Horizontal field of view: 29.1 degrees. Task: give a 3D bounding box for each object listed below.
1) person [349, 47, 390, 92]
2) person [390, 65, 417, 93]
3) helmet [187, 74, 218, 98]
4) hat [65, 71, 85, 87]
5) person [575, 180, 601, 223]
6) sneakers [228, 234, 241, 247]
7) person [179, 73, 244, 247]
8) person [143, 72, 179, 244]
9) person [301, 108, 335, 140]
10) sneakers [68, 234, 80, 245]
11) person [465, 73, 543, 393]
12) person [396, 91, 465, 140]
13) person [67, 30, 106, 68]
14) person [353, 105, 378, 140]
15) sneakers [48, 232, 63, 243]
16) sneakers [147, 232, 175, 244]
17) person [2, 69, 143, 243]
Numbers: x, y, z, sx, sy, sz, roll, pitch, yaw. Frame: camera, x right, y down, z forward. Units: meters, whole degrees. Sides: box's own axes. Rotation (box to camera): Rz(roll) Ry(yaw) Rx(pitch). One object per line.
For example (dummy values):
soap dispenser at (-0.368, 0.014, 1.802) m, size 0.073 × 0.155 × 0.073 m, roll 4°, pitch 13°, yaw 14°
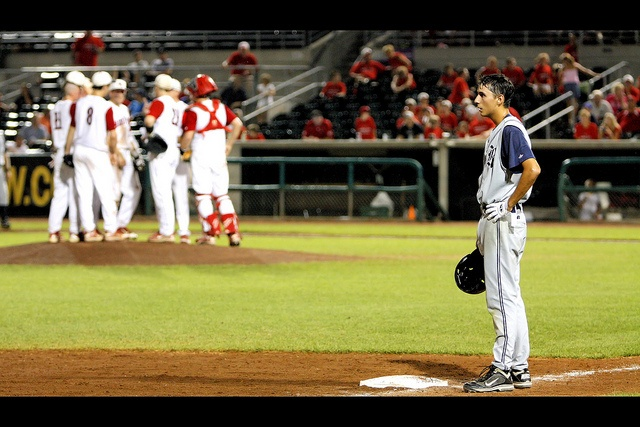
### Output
person at (1.078, -3.454, 29.152) m, size 1.194 × 0.773 × 1.429 m, roll 1°, pitch -31°, yaw 5°
person at (1.934, -3.146, 29.342) m, size 0.440 × 0.318 × 0.690 m, roll 2°, pitch -36°, yaw 1°
helmet at (-2.082, -2.156, 21.339) m, size 0.466 × 0.405 × 0.359 m, roll -18°, pitch -6°, yaw 26°
hat at (-4.121, -2.233, 20.903) m, size 0.303 × 0.210 × 0.263 m, roll -7°, pitch -3°, yaw -32°
person at (6.350, -0.138, 29.291) m, size 0.515 × 0.727 × 0.217 m, roll 2°, pitch 13°, yaw 8°
sneakers at (-1.503, 0.504, 21.408) m, size 0.158 × 0.247 × 0.252 m, roll -27°, pitch -12°, yaw -14°
person at (-1.906, -0.877, 21.436) m, size 0.990 × 2.957 × 0.915 m, roll 0°, pitch 13°, yaw -2°
person at (-2.724, -0.893, 21.239) m, size 0.592 × 2.843 × 0.805 m, roll 0°, pitch 13°, yaw 0°
person at (-0.040, -2.203, 30.351) m, size 0.842 × 1.074 × 0.647 m, roll 1°, pitch 23°, yaw 6°
sneakers at (-4.155, 0.472, 20.821) m, size 0.159 × 0.140 × 0.351 m, roll 1°, pitch -4°, yaw -14°
person at (2.443, 0.310, 16.240) m, size 0.800 × 4.126 × 0.998 m, roll 1°, pitch 13°, yaw 2°
person at (2.527, -2.262, 29.992) m, size 1.343 × 1.205 × 0.595 m, roll 2°, pitch -22°, yaw 7°
person at (-4.345, -3.017, 23.044) m, size 0.504 × 0.723 × 1.482 m, roll -2°, pitch 12°, yaw -10°
person at (1.092, -2.155, 30.190) m, size 0.512 × 0.778 × 0.687 m, roll 1°, pitch 12°, yaw 1°
sneakers at (-4.476, 0.446, 20.908) m, size 0.193 × 0.181 × 0.185 m, roll 0°, pitch -1°, yaw 5°
sneakers at (-2.741, 0.463, 21.241) m, size 0.396 × 0.162 × 0.173 m, roll 4°, pitch 1°, yaw 5°
person at (-3.942, -0.878, 20.878) m, size 1.342 × 2.899 × 0.950 m, roll -2°, pitch 13°, yaw -9°
